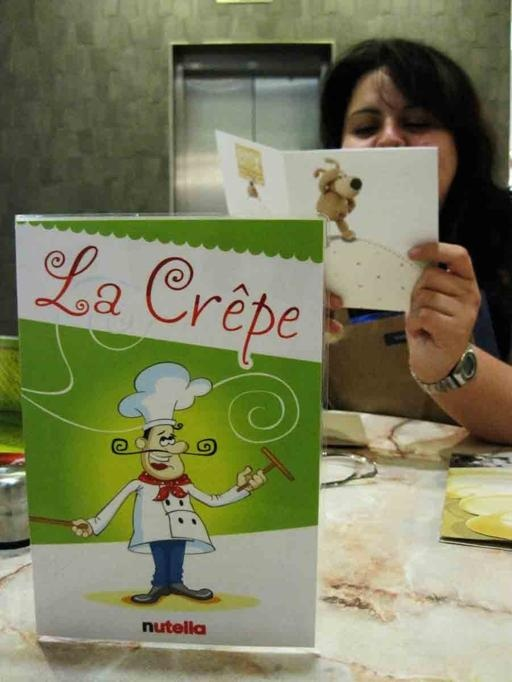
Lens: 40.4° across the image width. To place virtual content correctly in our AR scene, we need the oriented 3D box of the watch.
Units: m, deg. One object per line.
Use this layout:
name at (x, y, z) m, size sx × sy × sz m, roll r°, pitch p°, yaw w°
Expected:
watch at (0.290, 0.034, 1.093) m, size 0.093 × 0.086 × 0.058 m, roll 7°, pitch 17°, yaw 36°

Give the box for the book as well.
book at (0.086, -0.126, 0.778) m, size 0.281 × 0.189 × 0.011 m, roll 0°, pitch -10°, yaw -24°
